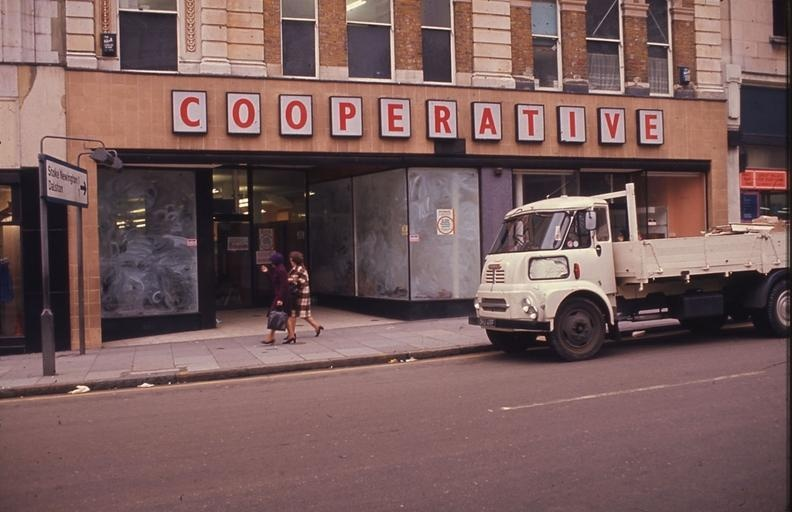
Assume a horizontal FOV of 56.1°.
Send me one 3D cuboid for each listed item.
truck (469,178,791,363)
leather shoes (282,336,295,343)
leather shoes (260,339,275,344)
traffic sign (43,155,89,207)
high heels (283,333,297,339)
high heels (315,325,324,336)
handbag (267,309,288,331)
[{"bbox_3d":[5.571,0.489,18.292,7.442,3.720,3.703,1,-5,-22],"label":"truck"},{"bbox_3d":[-2.801,2.185,19.297,0.287,0.135,0.159,1,1,10],"label":"leather shoes"},{"bbox_3d":[-3.349,2.238,19.187,0.310,0.137,0.122,3,-4,0],"label":"leather shoes"},{"bbox_3d":[-8.054,-1.793,18.413,0.080,0.944,2.406,-10,19,-41],"label":"traffic sign"},{"bbox_3d":[-2.699,2.096,19.285,0.269,0.124,0.147,6,-5,-32],"label":"high heels"},{"bbox_3d":[-2.108,2.076,20.208,0.154,0.126,0.406,-1,-43,-6],"label":"high heels"},{"bbox_3d":[-3.033,1.656,19.034,0.543,0.662,0.250,3,-7,-18],"label":"handbag"}]
